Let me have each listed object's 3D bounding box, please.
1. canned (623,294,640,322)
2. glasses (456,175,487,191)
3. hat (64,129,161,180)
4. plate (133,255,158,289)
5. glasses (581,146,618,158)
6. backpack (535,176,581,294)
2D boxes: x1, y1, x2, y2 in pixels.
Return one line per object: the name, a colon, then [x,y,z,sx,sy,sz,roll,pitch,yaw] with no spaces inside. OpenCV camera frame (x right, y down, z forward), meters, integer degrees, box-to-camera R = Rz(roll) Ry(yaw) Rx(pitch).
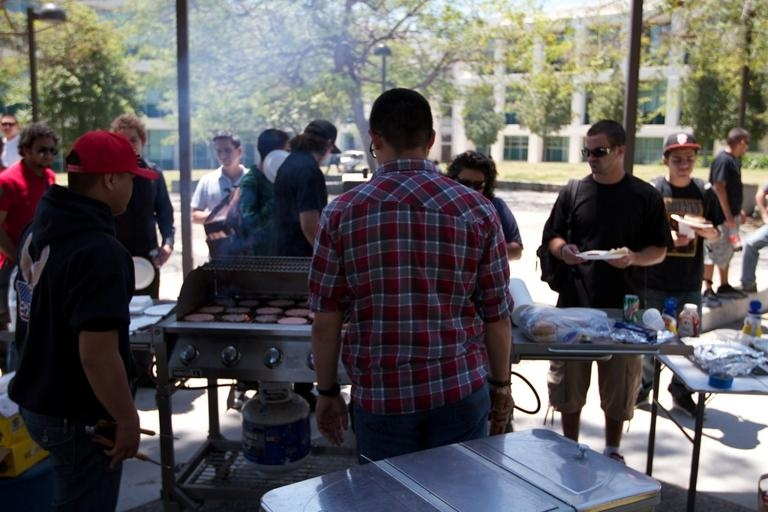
canned: [1.809,0.388,5.519,0.098,0.195,0.075,0,7,9]
glasses: [0.659,-0.543,5.699,0.210,0.098,0.109,-1,7,6]
hat: [-1.687,-0.637,4.696,0.547,0.276,0.342,3,5,-37]
plate: [-1.921,0.146,5.989,0.140,0.278,0.352,-4,8,-19]
glasses: [1.614,-0.803,5.798,0.119,0.084,0.253,-6,8,-31]
backpack: [1.390,-0.144,5.967,0.361,0.911,0.247,0,8,11]
